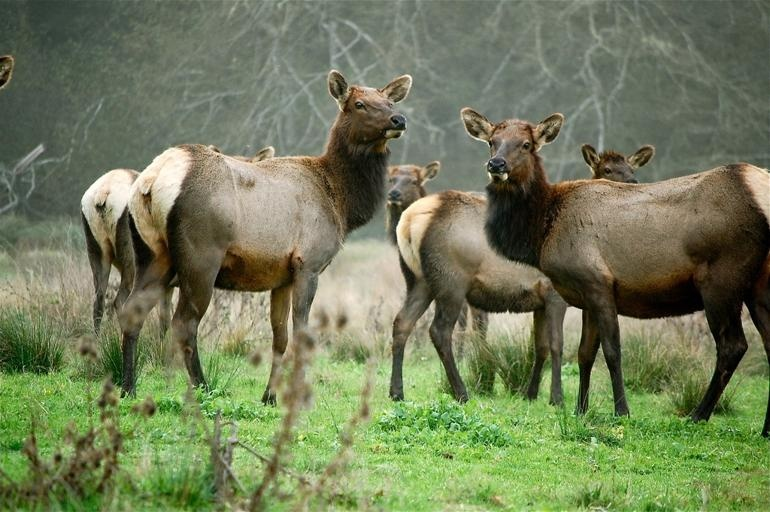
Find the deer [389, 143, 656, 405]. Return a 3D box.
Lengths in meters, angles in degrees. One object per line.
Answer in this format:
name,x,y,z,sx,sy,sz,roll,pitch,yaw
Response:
deer,2.206,0.165,17.305,4.289,3.860,1.599,0,1,-11

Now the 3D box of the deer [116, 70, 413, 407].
deer,-1.614,-0.331,15.732,4.135,4.327,1.506,-1,2,-37
